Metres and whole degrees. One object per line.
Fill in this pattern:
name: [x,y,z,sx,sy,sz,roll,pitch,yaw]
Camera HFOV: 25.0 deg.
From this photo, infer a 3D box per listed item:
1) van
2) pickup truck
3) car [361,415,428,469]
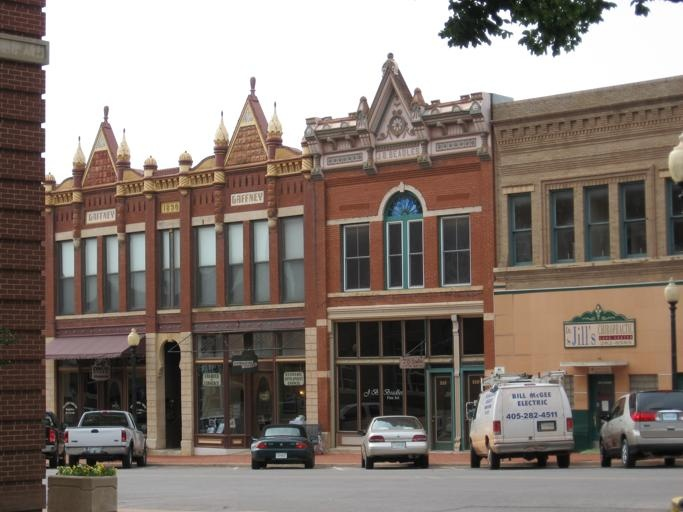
van: [4.716,4.349,41.491,1.700,1.912,3.141,1,-5,-7]
pickup truck: [-6.951,5.485,46.694,1.511,1.310,3.006,-1,-3,5]
car: [1.560,5.247,44.548,1.753,1.481,3.723,-1,-6,-3]
